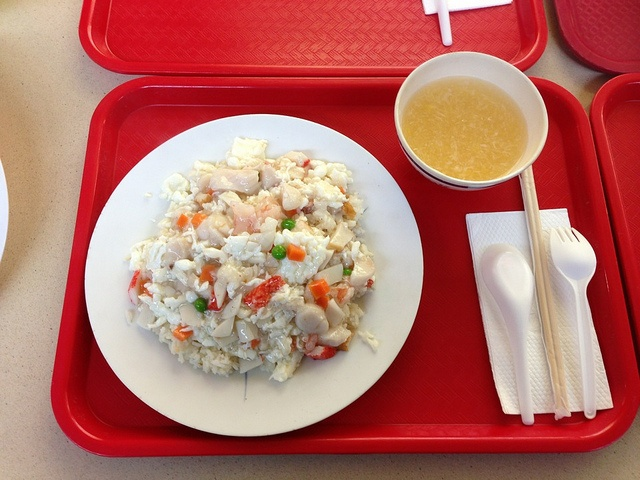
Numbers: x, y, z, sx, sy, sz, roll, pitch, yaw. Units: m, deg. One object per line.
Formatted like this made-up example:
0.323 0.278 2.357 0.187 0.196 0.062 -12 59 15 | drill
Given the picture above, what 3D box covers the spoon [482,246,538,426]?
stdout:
0.833 0.361 2.537 0.191 0.082 0.718 -13 85 -3 | spoon
